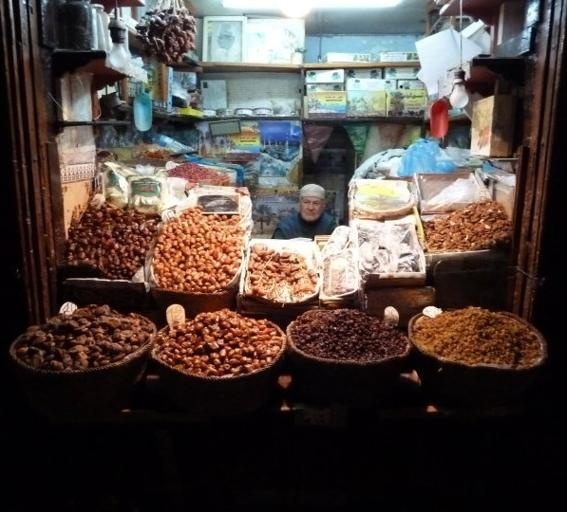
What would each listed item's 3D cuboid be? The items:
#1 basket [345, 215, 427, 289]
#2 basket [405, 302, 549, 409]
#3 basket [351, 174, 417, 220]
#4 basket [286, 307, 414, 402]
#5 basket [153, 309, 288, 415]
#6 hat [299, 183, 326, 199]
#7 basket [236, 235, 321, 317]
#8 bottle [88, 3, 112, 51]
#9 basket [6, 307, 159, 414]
[{"bbox_3d":[0.550,-0.001,2.636,0.360,0.121,0.390,0,42,1],"label":"basket"},{"bbox_3d":[0.850,0.445,2.168,0.583,0.337,0.377,3,18,12],"label":"basket"},{"bbox_3d":[0.639,-0.366,3.160,0.426,0.208,0.463,1,17,6],"label":"basket"},{"bbox_3d":[0.284,0.448,2.193,0.556,0.309,0.381,3,18,12],"label":"basket"},{"bbox_3d":[-0.281,0.457,2.135,0.588,0.357,0.387,-1,18,-1],"label":"basket"},{"bbox_3d":[0.209,-0.460,3.524,0.151,0.068,0.130,1,-4,5],"label":"hat"},{"bbox_3d":[-0.016,0.108,2.635,0.453,0.164,0.482,2,42,-5],"label":"basket"},{"bbox_3d":[-0.992,-1.236,2.637,0.086,0.242,0.247,-6,19,-11],"label":"bottle"},{"bbox_3d":[-0.846,0.412,2.107,0.553,0.290,0.495,4,6,-1],"label":"basket"}]
